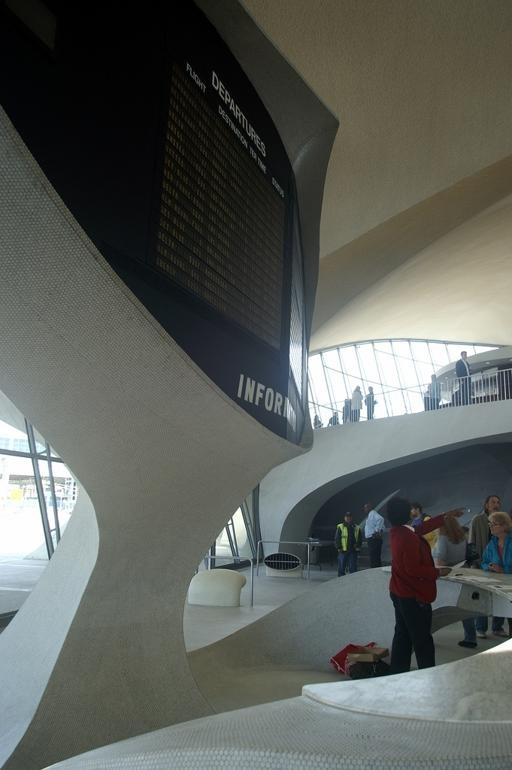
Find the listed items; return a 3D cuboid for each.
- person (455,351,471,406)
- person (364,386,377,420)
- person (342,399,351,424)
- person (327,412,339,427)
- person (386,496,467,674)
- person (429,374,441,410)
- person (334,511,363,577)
[{"bbox_3d":[8.258,-0.253,19.036,0.561,2.279,1.478,-5,-8,25],"label":"person"},{"bbox_3d":[5.023,1.003,20.929,0.498,1.155,0.821,-3,-8,14],"label":"person"},{"bbox_3d":[4.061,1.215,21.466,0.432,1.102,0.577,3,-9,-30],"label":"person"},{"bbox_3d":[3.546,1.625,21.854,0.379,0.843,0.784,3,-13,15],"label":"person"},{"bbox_3d":[1.841,2.323,5.414,0.672,2.119,1.403,-4,-8,21],"label":"person"},{"bbox_3d":[7.259,0.476,19.456,0.509,1.250,1.026,-4,-8,21],"label":"person"},{"bbox_3d":[2.822,5.022,14.811,0.665,1.842,1.148,-4,-8,17],"label":"person"}]
